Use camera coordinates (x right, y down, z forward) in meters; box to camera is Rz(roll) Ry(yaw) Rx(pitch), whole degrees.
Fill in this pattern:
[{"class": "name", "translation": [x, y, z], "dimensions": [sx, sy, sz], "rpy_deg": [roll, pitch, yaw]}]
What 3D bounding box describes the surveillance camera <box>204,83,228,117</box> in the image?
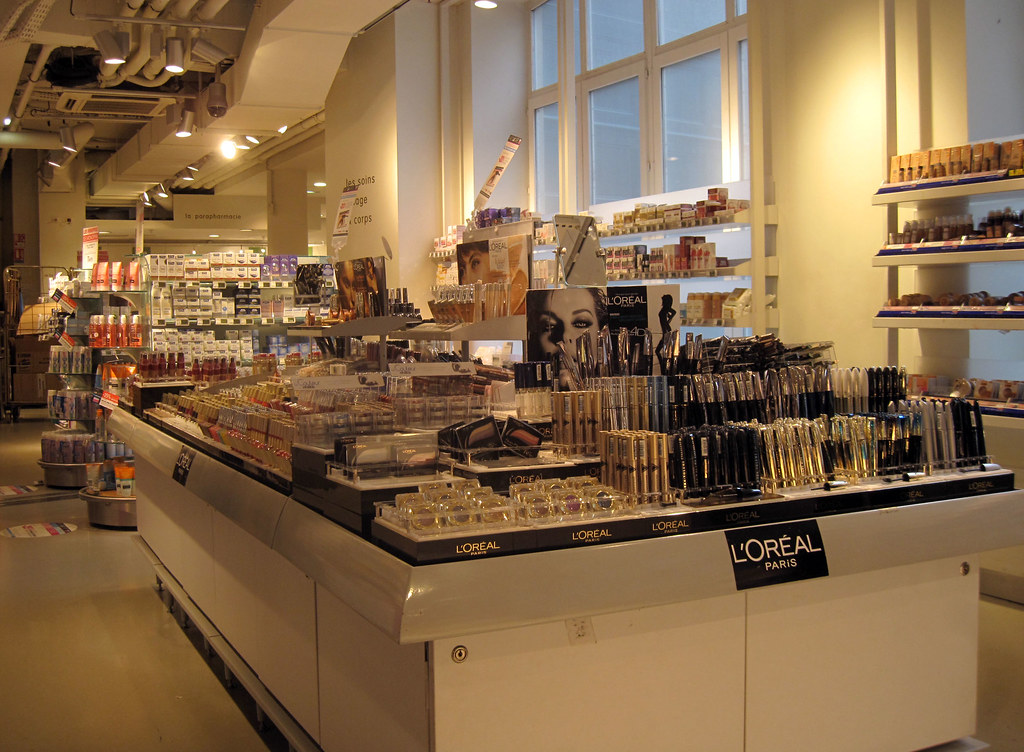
[{"class": "surveillance camera", "translation": [-3.103, -2.907, 8.243], "dimensions": [0.190, 0.293, 0.243], "rpy_deg": [-3, 5, -23]}]
